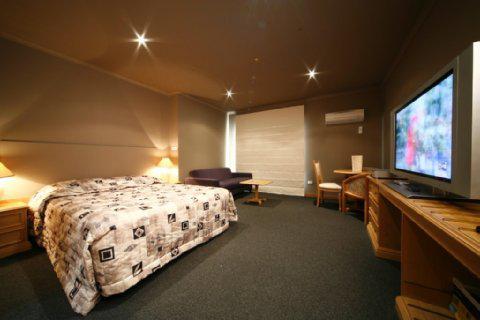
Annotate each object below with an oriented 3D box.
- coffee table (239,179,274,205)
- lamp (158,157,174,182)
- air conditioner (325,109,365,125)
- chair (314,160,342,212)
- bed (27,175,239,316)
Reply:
[{"bbox_3d":[0.392,0.732,6.661,0.730,0.427,0.717,-2,2,-23],"label":"coffee table"},{"bbox_3d":[-1.717,0.222,6.761,0.369,0.579,0.376,0,0,-34],"label":"lamp"},{"bbox_3d":[2.452,-0.994,6.828,0.866,0.255,0.072,-3,1,28],"label":"air conditioner"},{"bbox_3d":[1.929,0.498,6.274,0.588,0.970,0.601,0,3,28],"label":"chair"},{"bbox_3d":[-1.975,0.973,4.440,2.021,0.796,2.107,2,4,38],"label":"bed"}]
